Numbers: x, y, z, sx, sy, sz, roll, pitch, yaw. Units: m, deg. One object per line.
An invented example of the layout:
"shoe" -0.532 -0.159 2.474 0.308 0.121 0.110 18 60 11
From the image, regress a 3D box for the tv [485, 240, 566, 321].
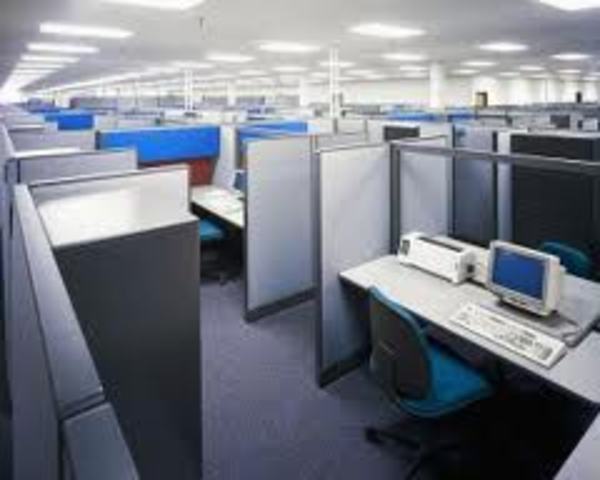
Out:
"tv" 1.033 0.201 1.884 0.150 0.245 0.254 -2 23 -40

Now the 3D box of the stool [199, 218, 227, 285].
"stool" -0.855 0.063 3.927 0.228 0.563 0.865 -7 16 -14

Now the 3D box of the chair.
"chair" 0.563 0.614 1.896 0.446 0.823 0.458 -9 16 -21
